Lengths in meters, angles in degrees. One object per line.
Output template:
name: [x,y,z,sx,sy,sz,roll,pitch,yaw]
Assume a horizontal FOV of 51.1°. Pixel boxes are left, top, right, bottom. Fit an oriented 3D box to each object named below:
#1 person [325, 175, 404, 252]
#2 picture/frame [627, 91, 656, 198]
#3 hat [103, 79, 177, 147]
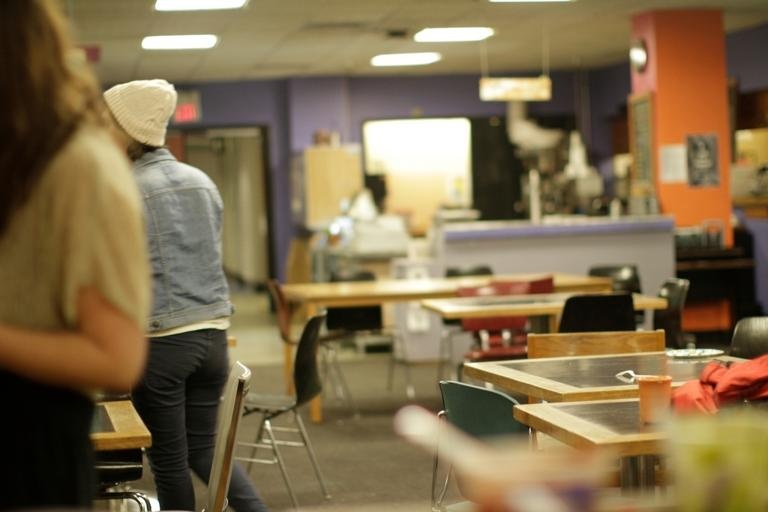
person: [-0.212,-0.608,9.818,0.997,1.219,1.232,2,-2,-4]
picture/frame: [1.595,-0.661,4.903,0.059,0.609,0.255,-5,5,-13]
hat: [-0.842,-0.518,2.816,0.256,0.204,0.194,23,9,-8]
